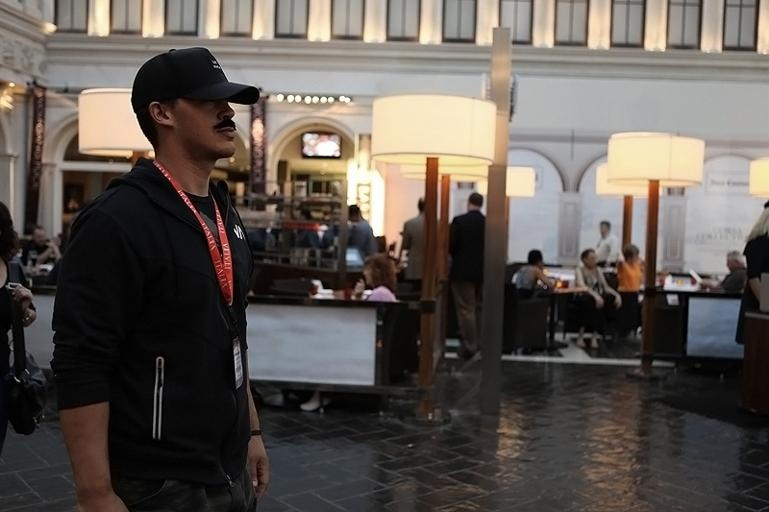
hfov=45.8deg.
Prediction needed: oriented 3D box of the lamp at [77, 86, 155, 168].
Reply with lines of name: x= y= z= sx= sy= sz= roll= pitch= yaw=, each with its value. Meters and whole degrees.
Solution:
lamp: x=-2.713 y=-1.315 z=9.355 sx=0.935 sy=0.670 sz=0.922 roll=-1 pitch=2 yaw=1

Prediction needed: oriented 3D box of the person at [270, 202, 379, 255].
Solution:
person: x=-0.894 y=-0.365 z=13.954 sx=1.051 sy=0.270 sz=1.120 roll=3 pitch=34 yaw=-1

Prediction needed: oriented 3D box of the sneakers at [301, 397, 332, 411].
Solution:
sneakers: x=-0.754 y=1.615 z=9.889 sx=0.260 sy=0.092 sz=0.136 roll=-1 pitch=3 yaw=-22

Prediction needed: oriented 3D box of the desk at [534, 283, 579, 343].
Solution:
desk: x=2.546 y=0.883 z=13.751 sx=0.802 sy=0.842 sz=0.911 roll=0 pitch=2 yaw=19

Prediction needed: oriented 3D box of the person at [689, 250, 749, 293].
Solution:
person: x=4.556 y=0.286 z=12.631 sx=0.899 sy=0.450 sz=0.639 roll=-4 pitch=5 yaw=17

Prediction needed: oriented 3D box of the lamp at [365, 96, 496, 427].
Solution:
lamp: x=0.492 y=0.055 z=9.347 sx=1.219 sy=3.381 sz=0.890 roll=-5 pitch=12 yaw=-30

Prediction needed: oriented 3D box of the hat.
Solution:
hat: x=-1.231 y=-1.127 z=5.966 sx=0.678 sy=0.341 sz=0.432 roll=-14 pitch=5 yaw=7

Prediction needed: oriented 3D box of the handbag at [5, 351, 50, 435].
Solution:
handbag: x=-2.928 y=1.173 z=7.485 sx=0.259 sy=0.619 sz=0.450 roll=0 pitch=10 yaw=-5
